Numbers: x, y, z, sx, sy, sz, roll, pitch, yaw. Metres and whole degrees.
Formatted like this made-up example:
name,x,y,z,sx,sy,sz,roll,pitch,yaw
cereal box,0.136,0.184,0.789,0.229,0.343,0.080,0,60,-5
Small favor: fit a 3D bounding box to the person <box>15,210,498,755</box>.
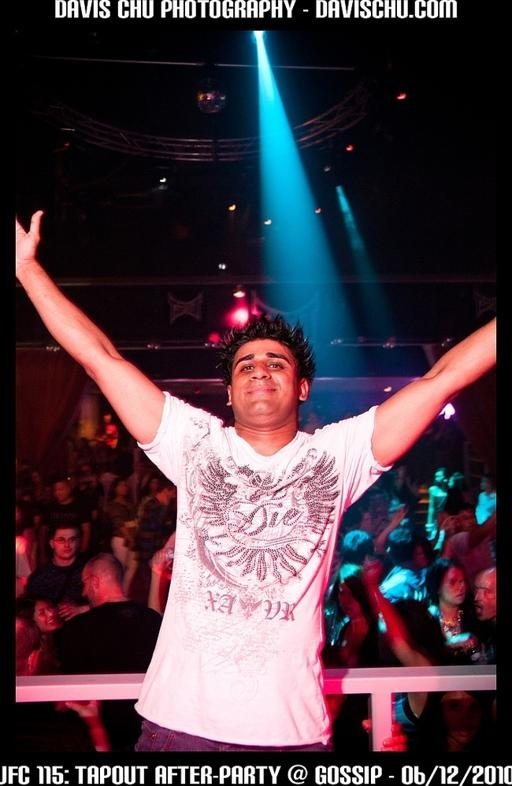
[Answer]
name,x,y,z,sx,sy,sz,roll,pitch,yaw
person,-0.020,0.248,2.110,1.344,1.634,0.637,0,0,-20
